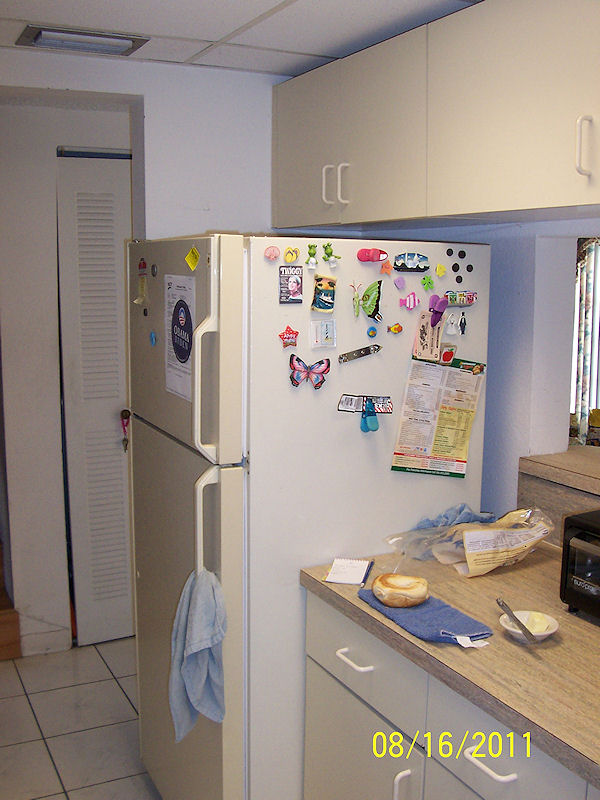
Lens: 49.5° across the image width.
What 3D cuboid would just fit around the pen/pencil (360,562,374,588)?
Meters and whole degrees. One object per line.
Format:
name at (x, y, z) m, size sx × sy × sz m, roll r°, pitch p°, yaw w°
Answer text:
pen/pencil at (0.150, 0.389, 1.452) m, size 0.011 × 0.012 × 0.113 m, roll -4°, pitch 21°, yaw 22°

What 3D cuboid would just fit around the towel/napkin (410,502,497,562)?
towel/napkin at (0.368, 0.312, 1.627) m, size 0.162 × 0.061 × 0.110 m, roll -14°, pitch 13°, yaw -26°

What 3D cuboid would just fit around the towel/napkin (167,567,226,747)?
towel/napkin at (-0.235, 0.577, 1.456) m, size 0.112 × 0.429 × 0.223 m, roll -1°, pitch 4°, yaw -23°

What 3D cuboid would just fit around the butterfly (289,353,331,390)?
butterfly at (0.016, -0.065, 1.400) m, size 0.069 × 0.059 × 0.015 m, roll -1°, pitch 16°, yaw -25°

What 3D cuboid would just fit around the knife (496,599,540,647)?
knife at (0.382, 0.390, 1.139) m, size 0.024 × 0.022 × 0.099 m, roll -27°, pitch 29°, yaw -1°

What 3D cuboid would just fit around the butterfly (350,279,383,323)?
butterfly at (0.148, -0.212, 1.449) m, size 0.088 × 0.121 × 0.069 m, roll 4°, pitch 6°, yaw 35°

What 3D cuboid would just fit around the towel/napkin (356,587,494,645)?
towel/napkin at (0.236, 0.405, 1.240) m, size 0.145 × 0.018 × 0.293 m, roll -1°, pitch 4°, yaw -25°
